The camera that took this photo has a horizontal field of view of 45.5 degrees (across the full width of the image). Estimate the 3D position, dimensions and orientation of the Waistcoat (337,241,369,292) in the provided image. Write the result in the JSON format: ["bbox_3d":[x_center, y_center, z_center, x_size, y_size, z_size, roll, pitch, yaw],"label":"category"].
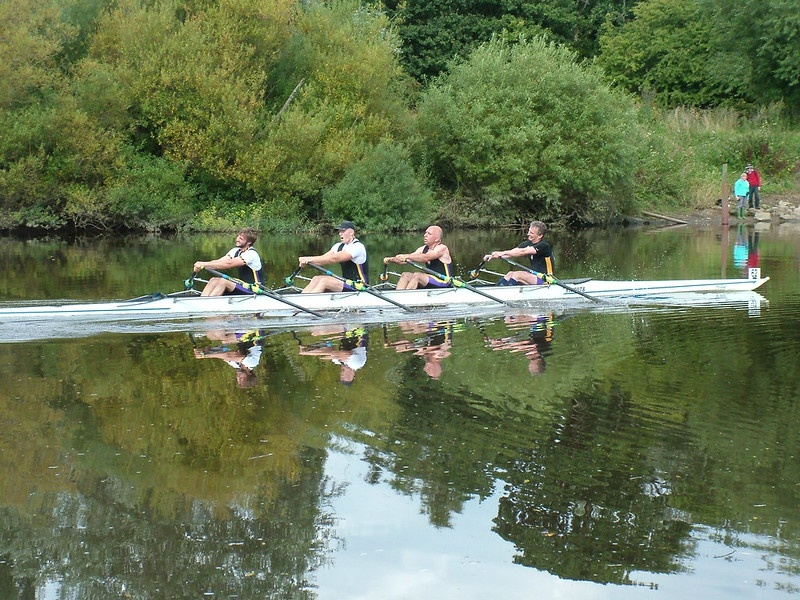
[{"bbox_3d":[-0.742,-0.630,17.271,0.747,1.186,0.781,1,3,-8],"label":"Waistcoat"}]

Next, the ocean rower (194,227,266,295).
[{"bbox_3d":[-2.944,-0.451,16.581,1.118,1.587,0.646,4,3,-34],"label":"ocean rower"}]

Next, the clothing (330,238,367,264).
[{"bbox_3d":[-0.893,-0.914,17.385,0.523,0.528,0.445,-3,7,-19],"label":"clothing"}]

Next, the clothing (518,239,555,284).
[{"bbox_3d":[2.792,-0.733,18.572,0.789,0.983,0.738,1,3,-9],"label":"clothing"}]

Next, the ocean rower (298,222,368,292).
[{"bbox_3d":[-1.312,-0.560,17.300,1.494,1.789,0.866,-3,9,-25],"label":"ocean rower"}]

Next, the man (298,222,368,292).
[{"bbox_3d":[-1.316,-0.548,17.292,1.499,1.719,0.873,-3,7,-26],"label":"man"}]

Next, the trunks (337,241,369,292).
[{"bbox_3d":[-0.749,-0.637,17.275,0.747,1.186,0.781,1,3,-8],"label":"trunks"}]
